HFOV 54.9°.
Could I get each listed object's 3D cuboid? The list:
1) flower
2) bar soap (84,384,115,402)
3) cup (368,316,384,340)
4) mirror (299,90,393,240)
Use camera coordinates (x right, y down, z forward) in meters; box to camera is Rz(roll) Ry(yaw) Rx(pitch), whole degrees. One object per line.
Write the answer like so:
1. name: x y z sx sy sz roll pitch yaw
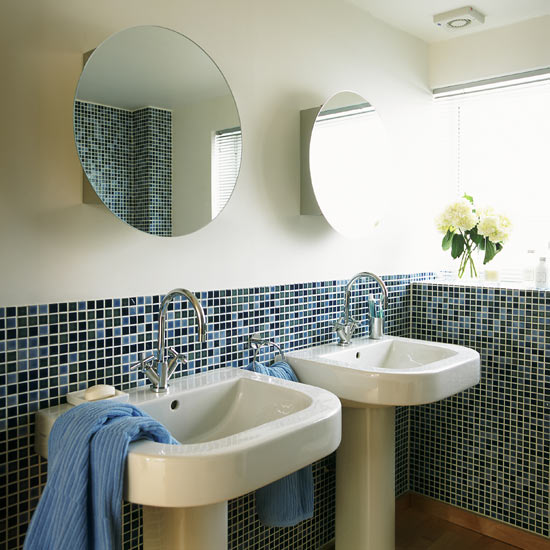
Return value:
1. flower: 0.991 -0.236 2.705 0.281 0.313 0.329 10 1 -8
2. bar soap: -0.464 0.296 1.386 0.033 0.025 0.065 4 6 30
3. cup: 0.445 0.229 2.329 0.068 0.146 0.073 0 0 0
4. mirror: 0.315 -0.473 2.290 0.120 0.607 0.576 1 5 42
